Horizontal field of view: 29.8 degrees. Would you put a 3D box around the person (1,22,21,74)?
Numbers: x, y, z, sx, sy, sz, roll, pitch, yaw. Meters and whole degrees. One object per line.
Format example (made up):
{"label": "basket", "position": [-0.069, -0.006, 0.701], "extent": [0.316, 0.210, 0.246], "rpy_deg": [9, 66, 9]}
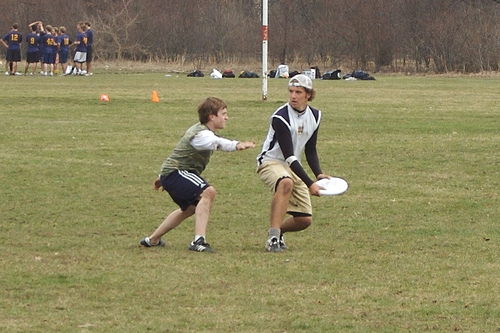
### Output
{"label": "person", "position": [-10.384, -5.197, 41.351], "extent": [0.779, 2.174, 1.341], "rpy_deg": [-2, 7, -15]}

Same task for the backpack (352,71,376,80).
{"label": "backpack", "position": [5.713, -4.504, 46.242], "extent": [0.698, 0.213, 0.558], "rpy_deg": [1, 0, -38]}

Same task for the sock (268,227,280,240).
{"label": "sock", "position": [0.580, 1.588, 22.320], "extent": [0.248, 0.233, 0.227], "rpy_deg": [3, -1, -31]}

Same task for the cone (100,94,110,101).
{"label": "cone", "position": [-4.821, -2.309, 31.335], "extent": [0.230, 0.089, 0.301], "rpy_deg": [-1, 14, -15]}

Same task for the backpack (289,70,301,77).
{"label": "backpack", "position": [2.301, -4.771, 48.108], "extent": [0.627, 0.274, 0.610], "rpy_deg": [2, 0, 5]}

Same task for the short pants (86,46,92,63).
{"label": "short pants", "position": [-7.228, -5.099, 42.382], "extent": [0.209, 0.682, 0.437], "rpy_deg": [-2, 7, -11]}

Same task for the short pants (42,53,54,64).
{"label": "short pants", "position": [-8.923, -4.847, 41.911], "extent": [0.698, 0.648, 0.380], "rpy_deg": [-1, 13, -10]}

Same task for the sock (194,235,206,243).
{"label": "sock", "position": [-1.177, 1.700, 22.306], "extent": [0.271, 0.181, 0.211], "rpy_deg": [-1, 7, -7]}

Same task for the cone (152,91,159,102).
{"label": "cone", "position": [-3.117, -2.330, 31.449], "extent": [0.311, 0.394, 0.288], "rpy_deg": [-2, -10, 3]}

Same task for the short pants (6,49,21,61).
{"label": "short pants", "position": [-10.347, -4.909, 41.306], "extent": [0.799, 0.718, 0.469], "rpy_deg": [1, -1, -5]}
